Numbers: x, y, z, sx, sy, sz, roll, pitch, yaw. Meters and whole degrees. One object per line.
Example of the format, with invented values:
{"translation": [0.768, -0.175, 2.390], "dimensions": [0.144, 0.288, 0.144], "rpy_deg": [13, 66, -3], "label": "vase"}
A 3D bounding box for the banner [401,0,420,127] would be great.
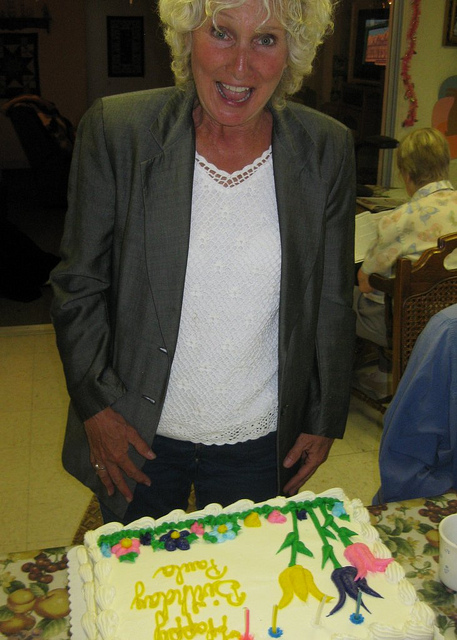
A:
{"translation": [1.375, -1.892, 3.944], "dimensions": [0.181, 0.852, 0.083], "rpy_deg": [-9, 17, -37], "label": "banner"}

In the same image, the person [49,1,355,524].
{"translation": [-0.016, -0.066, 1.047], "dimensions": [0.638, 1.012, 0.215], "rpy_deg": [-3, 14, -19], "label": "person"}

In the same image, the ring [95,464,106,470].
{"translation": [-0.259, 0.296, 1.050], "dimensions": [0.014, 0.007, 0.010], "rpy_deg": [12, -18, -8], "label": "ring"}
